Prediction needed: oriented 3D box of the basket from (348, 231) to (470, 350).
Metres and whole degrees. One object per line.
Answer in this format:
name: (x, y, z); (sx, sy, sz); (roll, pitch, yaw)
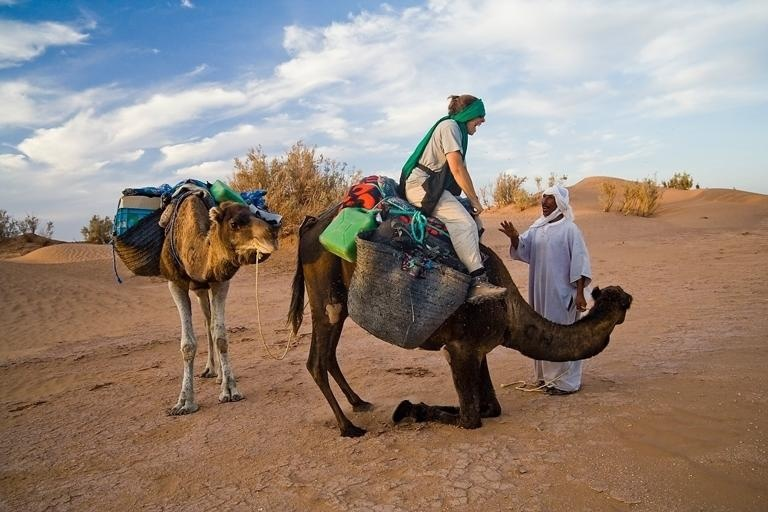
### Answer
basket: (0.240, 0.405, 6.183); (1.376, 1.296, 0.394); (-6, 12, -4)

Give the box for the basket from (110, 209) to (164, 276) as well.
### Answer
basket: (-3.520, -0.177, 8.038); (0.781, 0.666, 0.923); (-28, 11, 16)
